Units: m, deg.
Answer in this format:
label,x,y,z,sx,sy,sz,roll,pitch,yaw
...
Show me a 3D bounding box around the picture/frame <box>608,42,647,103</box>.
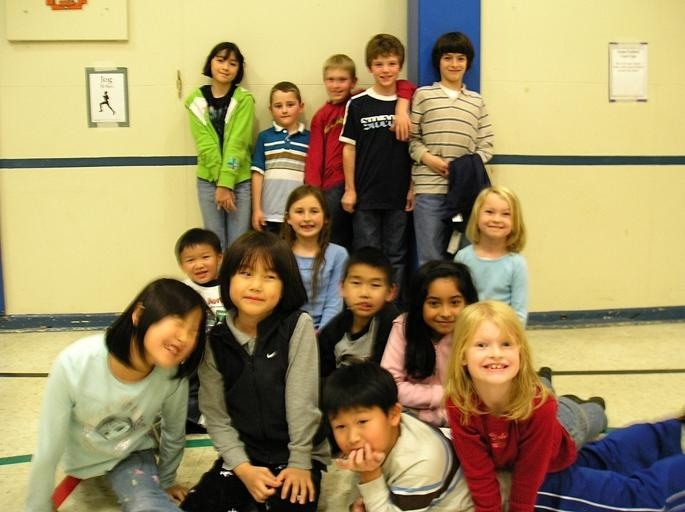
label,x,y,z,sx,sy,sz,roll,pitch,yaw
picture/frame,1.732,-1.116,3.968,0.245,0.338,0.047,-2,10,-11
